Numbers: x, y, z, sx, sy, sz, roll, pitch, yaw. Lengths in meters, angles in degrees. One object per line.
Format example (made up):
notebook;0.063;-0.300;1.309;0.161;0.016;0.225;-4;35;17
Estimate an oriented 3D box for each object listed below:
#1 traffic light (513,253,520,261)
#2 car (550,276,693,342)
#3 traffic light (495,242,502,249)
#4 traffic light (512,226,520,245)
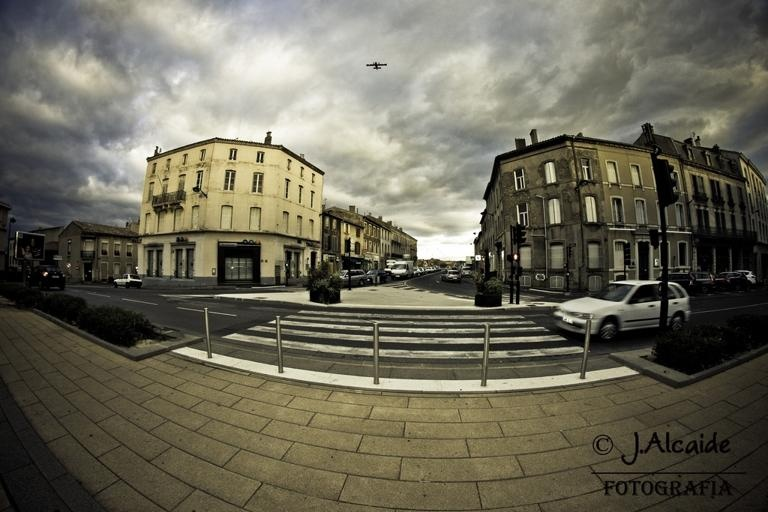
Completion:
traffic light;6.126;0.071;20.315;0.076;0.261;0.281;2;0;-15
car;7.843;1.756;14.587;4.452;1.623;1.948;3;-6;-9
traffic light;8.944;-0.821;34.321;0.446;0.763;0.432;-2;25;11
traffic light;5.968;-0.943;19.687;0.304;0.801;0.496;4;10;21
